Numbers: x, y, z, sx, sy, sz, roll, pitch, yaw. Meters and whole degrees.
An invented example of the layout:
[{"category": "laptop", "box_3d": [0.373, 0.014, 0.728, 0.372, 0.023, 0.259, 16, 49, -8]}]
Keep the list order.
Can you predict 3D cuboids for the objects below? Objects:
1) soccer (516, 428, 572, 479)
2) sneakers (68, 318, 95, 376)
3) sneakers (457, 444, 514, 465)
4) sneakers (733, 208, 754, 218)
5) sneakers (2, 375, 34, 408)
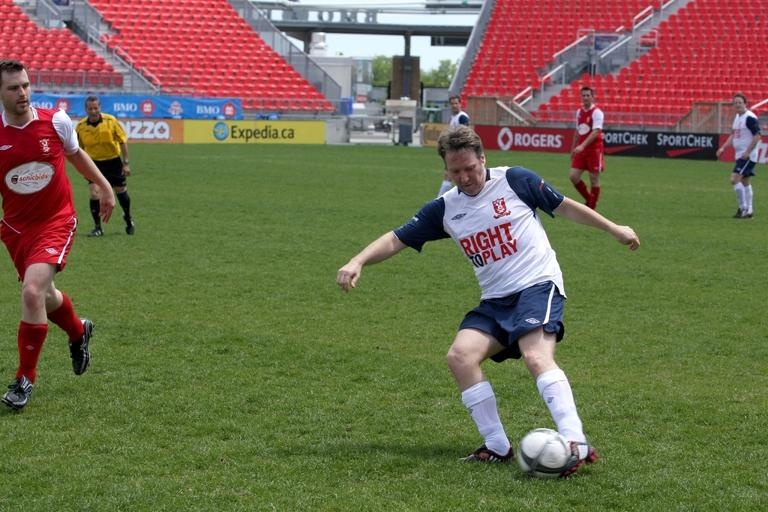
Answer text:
[{"category": "soccer", "box_3d": [1.273, 1.611, 7.582, 0.414, 0.360, 0.332, -16, 43, 12]}, {"category": "sneakers", "box_3d": [-2.903, 0.887, 8.926, 0.189, 0.571, 0.280, 2, 4, 35]}, {"category": "sneakers", "box_3d": [0.851, 1.651, 7.844, 0.456, 0.166, 0.163, 3, -8, 4]}, {"category": "sneakers", "box_3d": [6.317, -0.733, 16.459, 0.398, 0.181, 0.135, 1, 4, 3]}, {"category": "sneakers", "box_3d": [-3.270, 1.226, 8.397, 0.142, 0.180, 0.385, 25, 1, -13]}]
